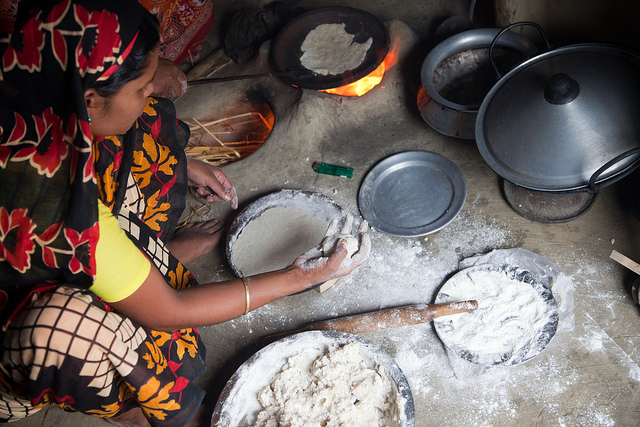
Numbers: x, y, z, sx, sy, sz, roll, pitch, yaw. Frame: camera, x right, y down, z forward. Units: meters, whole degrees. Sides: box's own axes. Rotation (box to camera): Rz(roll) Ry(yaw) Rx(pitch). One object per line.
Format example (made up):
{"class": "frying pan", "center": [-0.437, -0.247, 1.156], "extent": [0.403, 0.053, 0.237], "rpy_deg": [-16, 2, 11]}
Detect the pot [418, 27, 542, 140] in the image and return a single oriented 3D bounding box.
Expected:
{"class": "pot", "center": [0.859, -0.797, 3.412], "extent": [0.633, 0.432, 0.746], "rpy_deg": [-9, 66, 25]}

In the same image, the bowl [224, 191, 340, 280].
{"class": "bowl", "center": [-0.224, 0.153, 3.255], "extent": [0.672, 0.170, 0.755], "rpy_deg": [1, 36, 28]}
